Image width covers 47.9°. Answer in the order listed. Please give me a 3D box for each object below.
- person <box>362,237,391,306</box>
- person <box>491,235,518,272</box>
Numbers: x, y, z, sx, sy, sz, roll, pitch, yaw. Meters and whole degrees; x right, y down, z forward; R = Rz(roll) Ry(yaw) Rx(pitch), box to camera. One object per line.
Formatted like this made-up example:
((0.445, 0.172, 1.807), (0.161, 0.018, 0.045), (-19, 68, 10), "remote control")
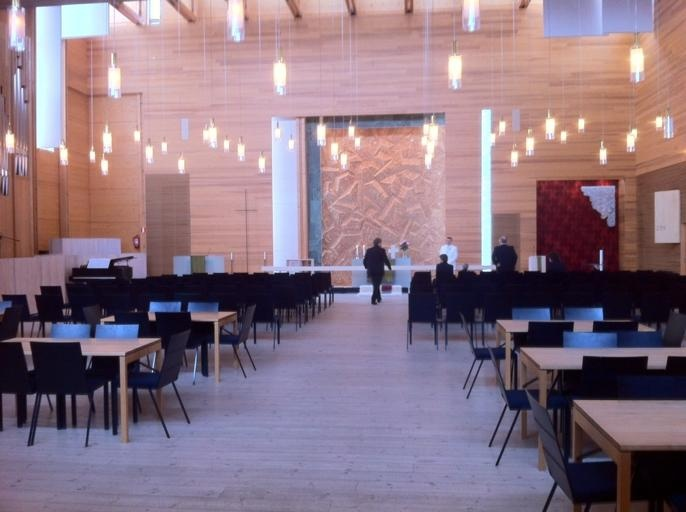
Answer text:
((0.927, 0.411, 21.191), (0.663, 1.805, 1.539), (-2, 2, 1), "person")
((4.270, 0.204, 20.484), (0.629, 1.750, 0.476), (-1, 30, 11), "person")
